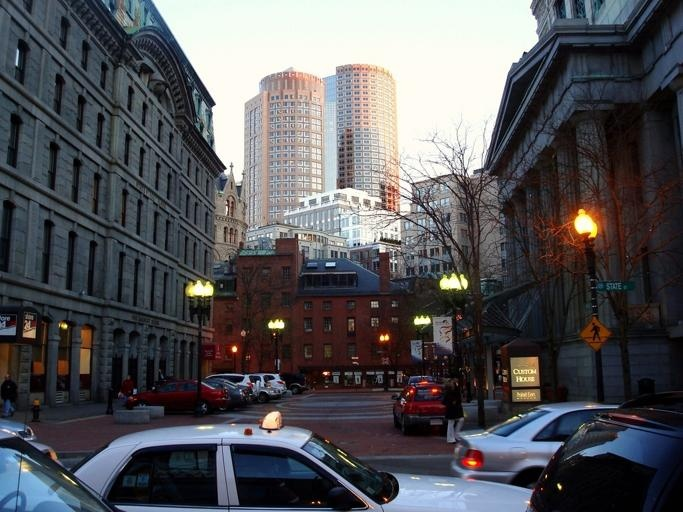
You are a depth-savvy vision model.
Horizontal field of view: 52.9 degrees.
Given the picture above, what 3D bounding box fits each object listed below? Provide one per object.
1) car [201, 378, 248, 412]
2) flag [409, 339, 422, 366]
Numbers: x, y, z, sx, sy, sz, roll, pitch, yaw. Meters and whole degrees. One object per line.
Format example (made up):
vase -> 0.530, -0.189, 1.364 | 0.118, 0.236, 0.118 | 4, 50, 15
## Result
car -> -6.410, 7.108, 35.520 | 2.823, 0.984, 1.337 | 1, -9, 9
flag -> 5.774, 7.094, 52.666 | 0.874, 1.619, 3.001 | -5, -13, 7
